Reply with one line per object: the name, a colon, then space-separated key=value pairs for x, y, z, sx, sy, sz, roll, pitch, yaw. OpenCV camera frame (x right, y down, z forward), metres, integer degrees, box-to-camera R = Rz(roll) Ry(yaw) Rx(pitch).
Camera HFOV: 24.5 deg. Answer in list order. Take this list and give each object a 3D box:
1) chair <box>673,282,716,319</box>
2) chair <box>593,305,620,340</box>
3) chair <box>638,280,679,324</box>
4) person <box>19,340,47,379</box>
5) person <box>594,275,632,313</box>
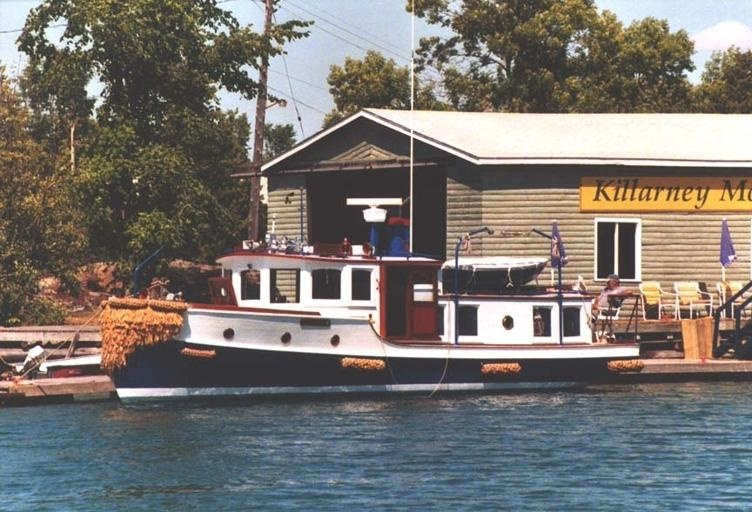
chair: x=11.614 y=1.615 z=64.346 sx=1.268 sy=1.184 sz=1.213 roll=-8 pitch=9 yaw=-39
chair: x=8.350 y=2.451 z=62.124 sx=1.245 sy=1.648 sz=1.179 roll=1 pitch=-1 yaw=1
chair: x=10.476 y=1.652 z=64.496 sx=1.404 sy=1.365 sz=1.330 roll=1 pitch=-3 yaw=37
person: x=-12.124 y=3.792 z=60.954 sx=0.931 sy=1.155 sz=1.452 roll=1 pitch=-5 yaw=-11
person: x=8.460 y=1.303 z=62.161 sx=0.777 sy=1.185 sz=2.640 roll=-6 pitch=10 yaw=-13
